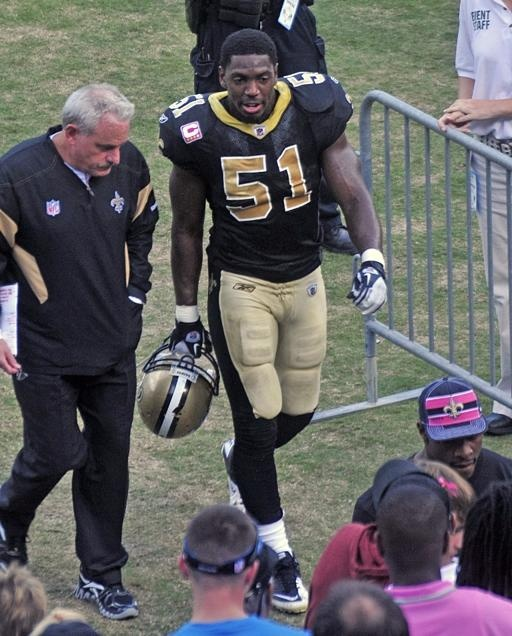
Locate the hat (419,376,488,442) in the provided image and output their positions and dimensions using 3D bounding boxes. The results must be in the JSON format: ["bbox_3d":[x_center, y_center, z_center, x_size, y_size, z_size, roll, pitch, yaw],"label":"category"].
[{"bbox_3d":[0.706,0.320,4.163,0.263,0.139,0.285,-4,24,5],"label":"hat"}]

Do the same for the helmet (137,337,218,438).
[{"bbox_3d":[-0.292,0.289,4.789,0.390,0.369,0.328,15,13,-2],"label":"helmet"}]

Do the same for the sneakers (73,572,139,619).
[{"bbox_3d":[-0.573,1.081,4.418,0.280,0.101,0.112,17,17,31],"label":"sneakers"}]

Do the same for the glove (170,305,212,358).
[{"bbox_3d":[-0.276,0.066,4.735,0.181,0.203,0.235,-4,4,-2],"label":"glove"}]

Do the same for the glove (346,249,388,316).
[{"bbox_3d":[0.438,-0.115,4.394,0.191,0.103,0.231,-19,53,8],"label":"glove"}]
